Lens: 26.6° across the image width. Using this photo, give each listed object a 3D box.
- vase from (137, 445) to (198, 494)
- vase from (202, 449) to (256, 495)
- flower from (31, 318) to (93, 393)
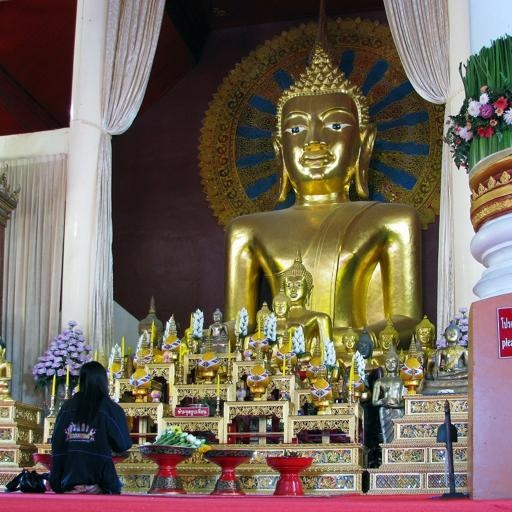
[{"bbox_3d":[-0.331,0.798,4.026,0.199,0.175,0.210,3,-14,-13],"label":"vase"},{"bbox_3d":[-0.106,0.808,4.042,0.201,0.166,0.189,10,-18,-39],"label":"vase"},{"bbox_3d":[-1.069,0.455,5.611,0.303,0.234,0.228,-40,-37,4],"label":"flower"}]
